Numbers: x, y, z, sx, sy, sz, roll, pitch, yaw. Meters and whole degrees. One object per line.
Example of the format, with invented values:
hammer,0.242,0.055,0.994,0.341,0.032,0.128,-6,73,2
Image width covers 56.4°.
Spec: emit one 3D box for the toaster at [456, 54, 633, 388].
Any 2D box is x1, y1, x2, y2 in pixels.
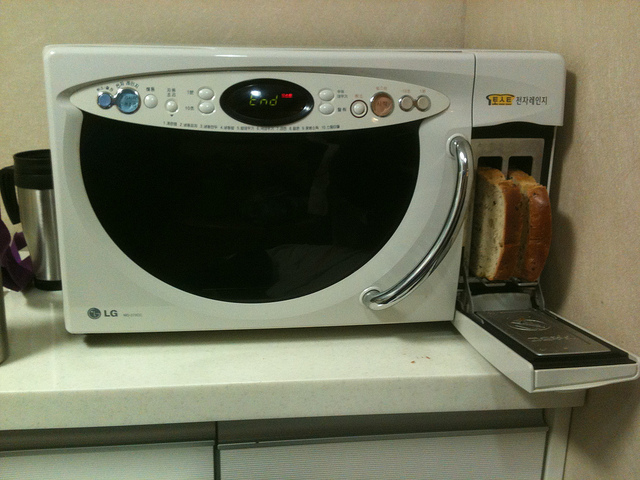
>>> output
toaster,0.339,-0.043,0.997,0.218,0.483,0.332,-3,15,-14
